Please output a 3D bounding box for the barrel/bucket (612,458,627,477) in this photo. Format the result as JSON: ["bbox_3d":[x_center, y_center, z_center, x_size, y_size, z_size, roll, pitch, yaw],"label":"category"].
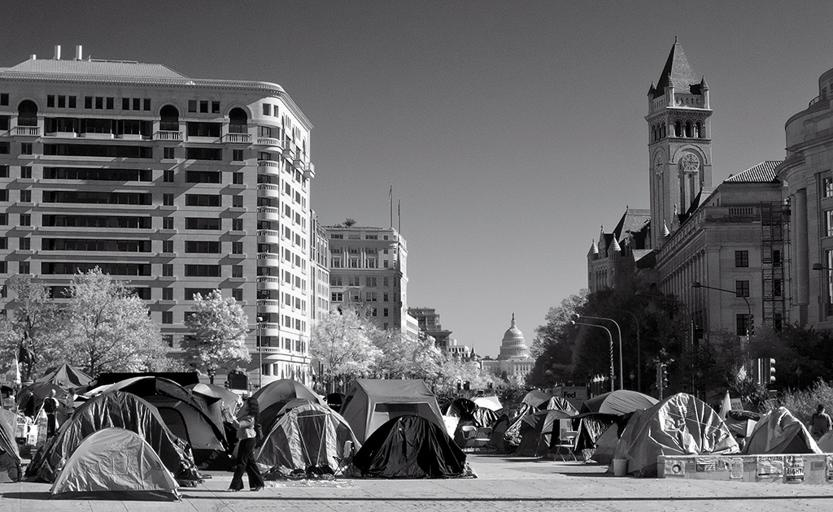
[{"bbox_3d":[11.012,11.688,70.970,0.860,0.662,0.858,0,-6,0],"label":"barrel/bucket"}]

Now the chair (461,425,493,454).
[{"bbox_3d":[3.966,12.693,88.484,1.530,1.672,1.522,3,-20,-6],"label":"chair"}]

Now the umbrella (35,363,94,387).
[{"bbox_3d":[-23.651,8.404,88.168,2.281,1.001,2.235,4,-5,-36],"label":"umbrella"}]
